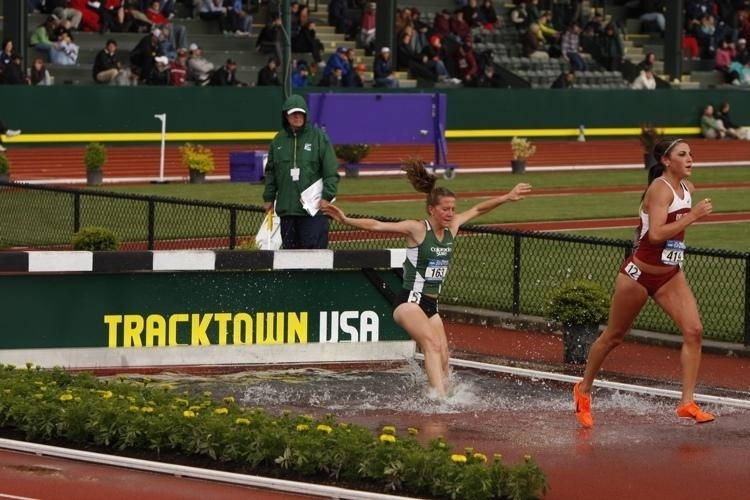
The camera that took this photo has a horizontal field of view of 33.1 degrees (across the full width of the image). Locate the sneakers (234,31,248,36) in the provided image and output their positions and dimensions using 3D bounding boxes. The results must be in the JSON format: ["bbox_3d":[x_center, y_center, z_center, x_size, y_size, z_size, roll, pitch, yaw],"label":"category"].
[{"bbox_3d":[-4.518,-7.301,42.779,0.470,0.209,0.164,-5,17,-10],"label":"sneakers"}]

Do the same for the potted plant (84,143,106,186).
[{"bbox_3d":[-6.965,-2.145,31.614,0.485,1.028,0.589,-2,11,-14],"label":"potted plant"}]

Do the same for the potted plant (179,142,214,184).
[{"bbox_3d":[-4.734,-2.266,33.015,1.122,1.206,0.924,0,-1,-34],"label":"potted plant"}]

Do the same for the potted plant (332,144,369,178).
[{"bbox_3d":[-0.704,-2.575,36.062,0.978,1.056,0.889,-1,3,-5],"label":"potted plant"}]

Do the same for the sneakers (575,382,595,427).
[{"bbox_3d":[2.345,1.708,14.157,0.163,0.487,0.179,2,-20,-39],"label":"sneakers"}]

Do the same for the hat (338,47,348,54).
[{"bbox_3d":[-1.092,-6.480,41.290,0.290,0.138,0.420,-10,15,-18],"label":"hat"}]

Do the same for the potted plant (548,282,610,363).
[{"bbox_3d":[2.716,0.937,16.747,0.937,1.113,0.955,0,2,-7],"label":"potted plant"}]

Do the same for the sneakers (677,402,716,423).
[{"bbox_3d":[3.596,1.811,14.189,0.419,0.199,0.196,1,9,26],"label":"sneakers"}]

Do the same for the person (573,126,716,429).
[{"bbox_3d":[3.138,0.359,14.193,1.440,3.117,1.071,3,10,11],"label":"person"}]
